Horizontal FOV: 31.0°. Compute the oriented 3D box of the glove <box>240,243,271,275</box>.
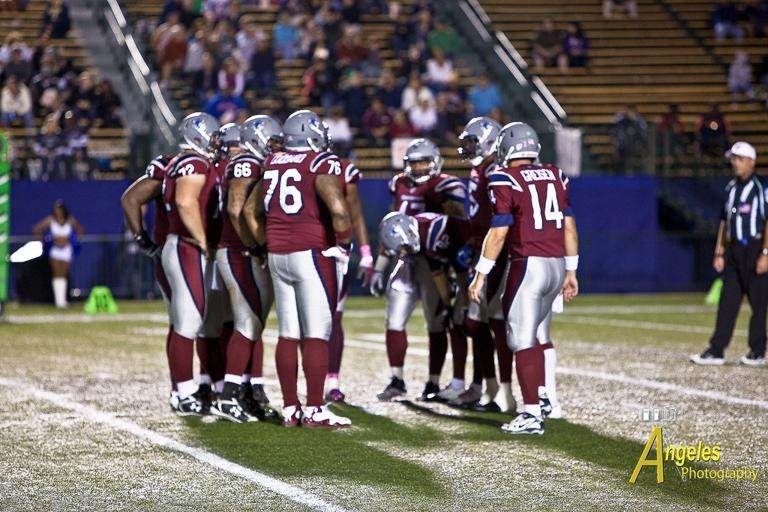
[{"bbox_3d":[-1.586,-0.001,17.306,0.325,0.323,0.158,12,37,23],"label":"glove"}]

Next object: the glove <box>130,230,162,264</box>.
[{"bbox_3d":[-2.992,-0.109,17.947,0.328,0.170,0.435,39,-4,20],"label":"glove"}]

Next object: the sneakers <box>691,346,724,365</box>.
[{"bbox_3d":[4.738,1.467,20.167,0.521,0.235,0.202,3,-3,6],"label":"sneakers"}]

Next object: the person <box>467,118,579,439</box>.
[{"bbox_3d":[1.748,0.239,17.189,0.975,3.740,1.221,5,12,28],"label":"person"}]

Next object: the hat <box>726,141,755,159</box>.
[{"bbox_3d":[5.231,-1.536,20.071,0.380,0.194,0.276,14,-2,-9],"label":"hat"}]

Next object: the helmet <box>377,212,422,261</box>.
[{"bbox_3d":[0.217,-0.320,17.856,0.575,0.570,0.463,-11,-10,-10],"label":"helmet"}]
